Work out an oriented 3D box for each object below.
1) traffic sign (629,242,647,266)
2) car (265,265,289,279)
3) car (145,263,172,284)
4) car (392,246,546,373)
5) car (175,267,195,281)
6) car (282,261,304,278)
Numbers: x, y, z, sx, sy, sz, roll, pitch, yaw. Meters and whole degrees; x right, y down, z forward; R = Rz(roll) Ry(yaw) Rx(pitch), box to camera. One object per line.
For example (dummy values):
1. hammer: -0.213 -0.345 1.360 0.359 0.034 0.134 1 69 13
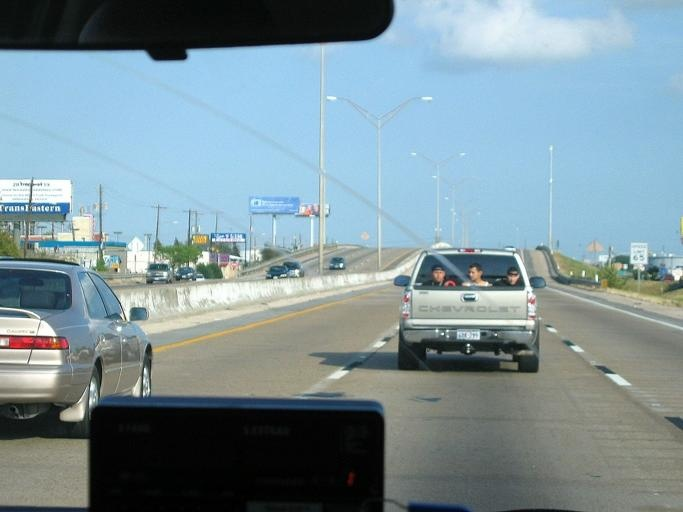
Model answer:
1. traffic sign: 16.882 -0.098 51.546 1.126 1.570 0.193 -1 3 33
2. car: -5.833 1.487 80.795 1.441 1.260 2.740 -1 -4 5
3. car: -14.983 1.433 75.092 1.199 1.202 2.269 -1 -6 2
4. car: 2.162 0.652 15.546 1.567 1.351 2.806 0 6 6
5. car: -14.194 1.599 81.925 1.784 1.258 1.739 -1 1 0
6. car: -4.780 1.315 85.300 1.401 1.327 2.528 0 -10 7
